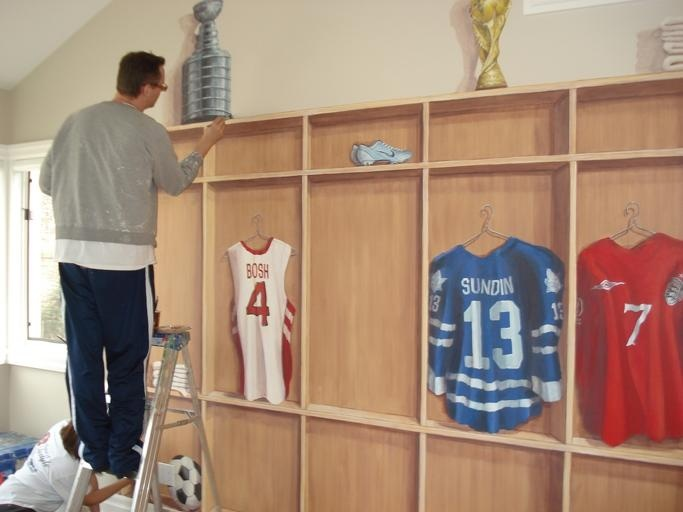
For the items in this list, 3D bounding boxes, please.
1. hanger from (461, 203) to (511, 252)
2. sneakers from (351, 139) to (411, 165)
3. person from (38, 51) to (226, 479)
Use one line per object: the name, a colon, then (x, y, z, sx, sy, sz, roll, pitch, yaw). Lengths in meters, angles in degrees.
hanger: (0.943, -0.182, 4.196, 0.285, 0.208, 0.010, 1, 2, 27)
sneakers: (0.243, -0.670, 4.252, 0.408, 0.218, 0.158, 0, 0, -4)
person: (-1.304, 0.177, 3.776, 0.788, 2.143, 0.352, 0, -2, -17)
